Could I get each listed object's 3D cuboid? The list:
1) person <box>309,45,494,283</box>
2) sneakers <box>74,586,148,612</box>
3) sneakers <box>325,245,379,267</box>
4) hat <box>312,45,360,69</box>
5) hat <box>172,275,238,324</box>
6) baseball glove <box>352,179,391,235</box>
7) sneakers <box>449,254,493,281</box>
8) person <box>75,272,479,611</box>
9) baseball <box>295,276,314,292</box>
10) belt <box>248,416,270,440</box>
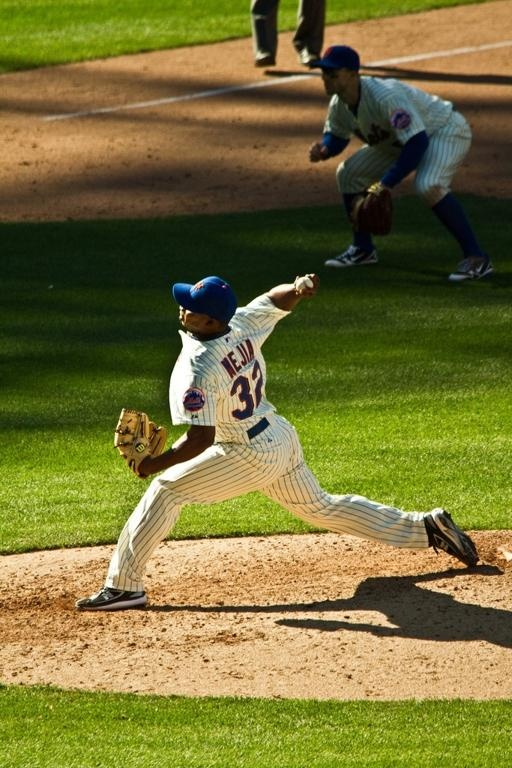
[{"bbox_3d":[1.013,-1.644,9.540,1.000,1.534,1.475,5,12,22],"label":"person"},{"bbox_3d":[-0.610,0.891,5.432,0.293,0.119,0.107,2,-5,-7],"label":"sneakers"},{"bbox_3d":[0.840,-1.043,10.678,0.523,0.212,0.173,-3,9,-9],"label":"sneakers"},{"bbox_3d":[0.568,-2.237,8.968,0.272,0.175,0.290,0,11,-1],"label":"hat"},{"bbox_3d":[-0.205,-0.321,5.183,0.247,0.190,0.204,0,11,-1],"label":"hat"},{"bbox_3d":[0.827,-1.235,9.240,0.344,0.370,0.313,7,14,32],"label":"baseball glove"},{"bbox_3d":[1.721,-0.904,10.301,0.158,0.140,0.326,2,7,44],"label":"sneakers"},{"bbox_3d":[-0.025,0.251,5.408,1.415,1.398,0.524,-5,13,-23],"label":"person"},{"bbox_3d":[0.205,-0.422,5.551,0.078,0.047,0.057,-1,-1,38],"label":"baseball"},{"bbox_3d":[0.011,0.187,5.310,0.014,0.042,0.140,-23,17,30],"label":"belt"}]
